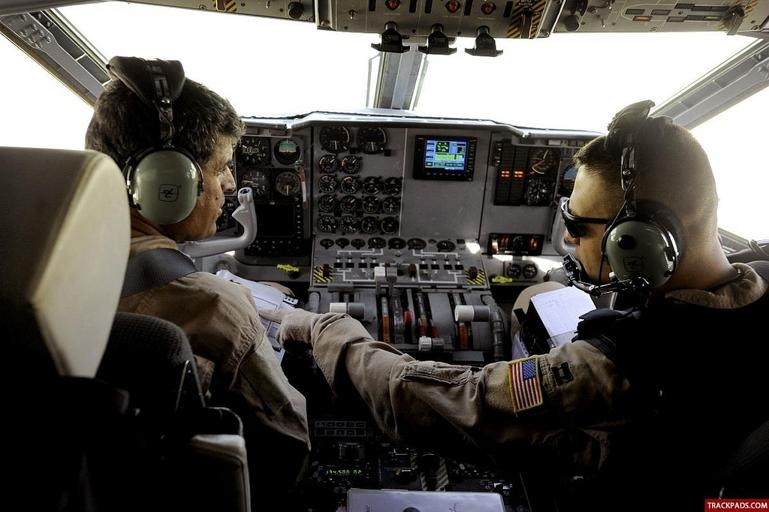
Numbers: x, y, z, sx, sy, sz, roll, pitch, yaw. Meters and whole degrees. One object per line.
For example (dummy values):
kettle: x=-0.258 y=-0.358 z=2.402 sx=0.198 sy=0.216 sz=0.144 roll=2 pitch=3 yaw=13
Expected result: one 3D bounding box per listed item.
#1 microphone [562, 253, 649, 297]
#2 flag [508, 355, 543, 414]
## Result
microphone: x=0.723 y=0.078 z=1.835 sx=0.196 sy=0.069 sz=0.134 roll=18 pitch=2 yaw=-24
flag: x=0.434 y=0.387 z=1.756 sx=0.105 sy=0.161 sz=0.083 roll=2 pitch=-4 yaw=13
